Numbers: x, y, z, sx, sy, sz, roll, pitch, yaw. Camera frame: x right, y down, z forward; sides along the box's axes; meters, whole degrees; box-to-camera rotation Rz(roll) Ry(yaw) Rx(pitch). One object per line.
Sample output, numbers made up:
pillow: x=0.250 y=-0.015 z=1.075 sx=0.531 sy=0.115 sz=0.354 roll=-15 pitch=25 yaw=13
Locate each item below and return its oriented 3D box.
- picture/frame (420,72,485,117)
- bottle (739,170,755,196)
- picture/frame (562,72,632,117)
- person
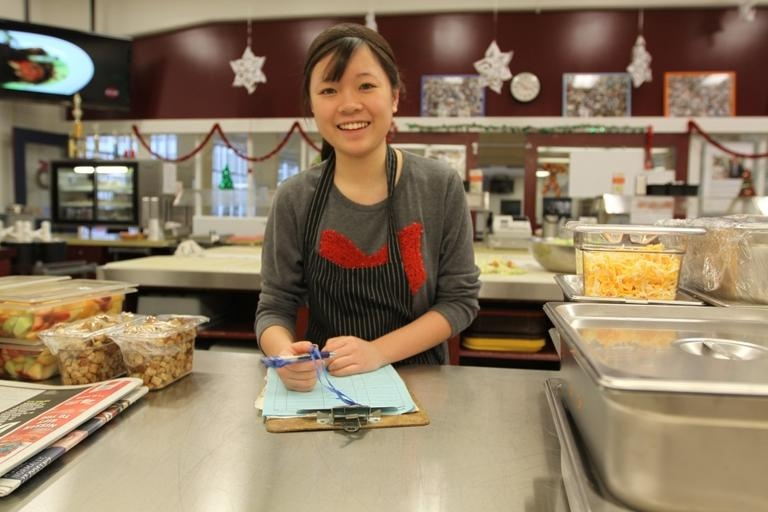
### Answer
picture/frame: x=0.829 y=-1.865 z=6.588 sx=0.621 sy=0.391 sz=0.027 roll=0 pitch=0 yaw=7
bottle: x=4.025 y=-0.814 z=6.262 sx=0.163 sy=0.277 sz=0.064 roll=-4 pitch=8 yaw=-6
picture/frame: x=2.422 y=-1.817 z=6.441 sx=0.835 sy=0.508 sz=0.012 roll=-2 pitch=3 yaw=-6
person: x=-0.048 y=-0.159 z=1.841 sx=0.777 sy=1.164 sz=0.581 roll=-5 pitch=8 yaw=-14
